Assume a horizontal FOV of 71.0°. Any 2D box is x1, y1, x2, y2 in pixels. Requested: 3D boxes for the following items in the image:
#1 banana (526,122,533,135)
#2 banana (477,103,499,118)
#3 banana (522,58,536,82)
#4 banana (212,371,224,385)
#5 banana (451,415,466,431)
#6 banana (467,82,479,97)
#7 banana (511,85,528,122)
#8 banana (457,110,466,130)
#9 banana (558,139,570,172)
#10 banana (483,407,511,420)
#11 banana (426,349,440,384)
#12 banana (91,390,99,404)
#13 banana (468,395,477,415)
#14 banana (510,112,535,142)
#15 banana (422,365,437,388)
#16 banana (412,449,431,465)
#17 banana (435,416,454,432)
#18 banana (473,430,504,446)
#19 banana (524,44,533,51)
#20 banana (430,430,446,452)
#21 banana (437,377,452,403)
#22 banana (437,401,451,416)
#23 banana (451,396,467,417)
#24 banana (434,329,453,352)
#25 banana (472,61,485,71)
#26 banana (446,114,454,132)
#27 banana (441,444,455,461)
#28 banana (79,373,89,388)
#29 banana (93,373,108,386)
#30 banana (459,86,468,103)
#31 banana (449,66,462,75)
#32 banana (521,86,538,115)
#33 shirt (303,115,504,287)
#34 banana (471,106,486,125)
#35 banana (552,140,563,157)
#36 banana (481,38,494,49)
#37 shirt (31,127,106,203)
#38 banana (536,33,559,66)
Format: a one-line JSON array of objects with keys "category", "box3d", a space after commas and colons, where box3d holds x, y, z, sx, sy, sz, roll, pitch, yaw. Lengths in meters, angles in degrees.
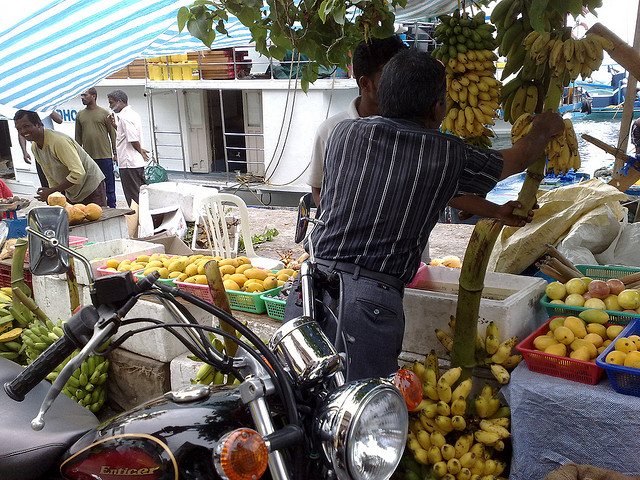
[{"category": "banana", "box3d": [1.056, -0.575, 2.266, 0.023, 0.054, 0.077, 8, 18, 20]}, {"category": "banana", "box3d": [0.902, -0.675, 2.411, 0.164, 0.044, 0.060, 21, 41, -52]}, {"category": "banana", "box3d": [1.088, -0.889, 2.340, 0.059, 0.097, 0.094, 9, 19, 23]}, {"category": "banana", "box3d": [-0.515, 0.698, 2.268, 0.059, 0.085, 0.052, 2, 17, -1]}, {"category": "banana", "box3d": [0.745, 0.991, 2.416, 0.058, 0.056, 0.089, 27, -22, 23]}, {"category": "banana", "box3d": [0.792, -0.787, 2.323, 0.033, 0.072, 0.023, -19, -11, 27]}, {"category": "banana", "box3d": [1.049, -0.732, 2.375, 0.055, 0.221, 0.067, 7, -5, 23]}, {"category": "banana", "box3d": [0.756, -0.655, 2.402, 0.030, 0.115, 0.036, -21, -17, 29]}, {"category": "banana", "box3d": [1.232, -0.429, 2.268, 0.038, 0.168, 0.052, 12, -5, -34]}, {"category": "banana", "box3d": [0.994, 0.986, 2.535, 0.153, 0.042, 0.052, -17, 12, 0]}, {"category": "banana", "box3d": [0.660, 0.733, 2.621, 0.050, 0.205, 0.065, -6, -20, 4]}, {"category": "banana", "box3d": [-1.859, 1.301, 3.713, 0.044, 0.132, 0.029, -8, 14, -32]}, {"category": "banana", "box3d": [0.865, 0.952, 2.554, 0.042, 0.139, 0.036, -2, 21, 2]}, {"category": "banana", "box3d": [1.040, -0.591, 2.342, 0.081, 0.158, 0.042, -36, 80, -29]}, {"category": "banana", "box3d": [0.620, 0.772, 2.537, 0.065, 0.073, 0.205, -6, 41, 11]}, {"category": "banana", "box3d": [0.546, 1.174, 2.418, 0.089, 0.055, 0.057, 28, -14, 5]}, {"category": "banana", "box3d": [0.680, 1.010, 2.442, 0.053, 0.065, 0.112, 18, -15, 0]}, {"category": "banana", "box3d": [0.901, 1.064, 2.408, 0.147, 0.075, 0.056, 7, 0, 27]}, {"category": "banana", "box3d": [1.040, -0.974, 2.243, 0.012, 0.016, 0.058, 5, 0, 15]}, {"category": "banana", "box3d": [0.633, 1.087, 2.421, 0.086, 0.075, 0.066, 10, 19, 24]}, {"category": "banana", "box3d": [0.675, 0.827, 2.442, 0.068, 0.148, 0.065, 5, 31, 37]}, {"category": "banana", "box3d": [0.668, 0.918, 2.450, 0.043, 0.052, 0.090, 2, 14, -32]}, {"category": "banana", "box3d": [0.762, 0.912, 2.433, 0.092, 0.116, 0.063, -1, 17, -8]}, {"category": "banana", "box3d": [0.766, 0.607, 2.814, 0.057, 0.051, 0.178, 1, 49, -47]}, {"category": "banana", "box3d": [0.819, -0.909, 2.310, 0.069, 0.044, 0.017, -2, 17, -12]}, {"category": "banana", "box3d": [0.709, -0.649, 2.457, 0.024, 0.090, 0.028, -5, -2, 25]}, {"category": "banana", "box3d": [0.675, 1.124, 2.369, 0.057, 0.084, 0.062, -10, -4, 14]}, {"category": "banana", "box3d": [-1.893, 1.134, 3.608, 0.045, 0.141, 0.066, 1, 20, -13]}, {"category": "banana", "box3d": [-1.804, 1.153, 3.729, 0.047, 0.161, 0.052, 27, 40, -11]}, {"category": "banana", "box3d": [0.755, -0.777, 2.357, 0.032, 0.072, 0.023, 6, 1, 13]}, {"category": "banana", "box3d": [0.717, -0.899, 2.357, 0.056, 0.030, 0.015, 8, 18, 18]}, {"category": "banana", "box3d": [1.097, -0.737, 2.336, 0.075, 0.151, 0.041, 6, -10, 21]}, {"category": "shirt", "box3d": [0.382, -0.186, 2.145, 0.786, 0.751, 0.385, 9, 18, 21]}, {"category": "banana", "box3d": [0.834, -0.666, 2.359, 0.032, 0.117, 0.035, -28, 2, 27]}, {"category": "banana", "box3d": [1.193, -0.472, 2.264, 0.041, 0.070, 0.016, -9, 6, 37]}, {"category": "banana", "box3d": [0.853, -1.014, 2.293, 0.059, 0.031, 0.019, 51, 19, 5]}, {"category": "shirt", "box3d": [-3.784, -1.111, 6.676, 0.779, 1.155, 0.784, 6, 36, 26]}, {"category": "banana", "box3d": [1.086, -0.928, 2.148, 0.041, 0.182, 0.065, 24, -16, 23]}]
